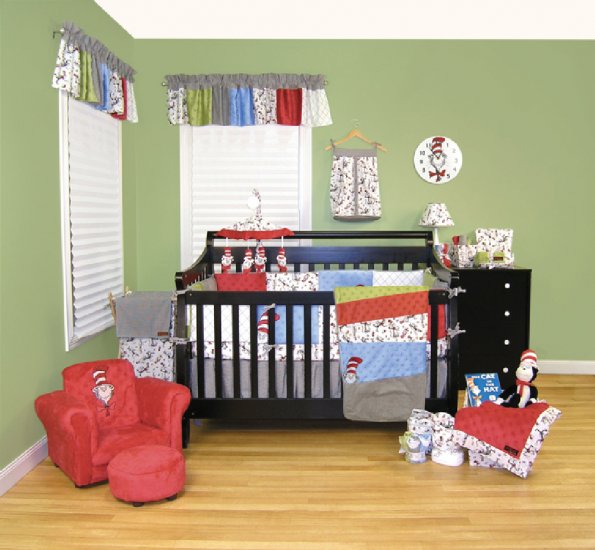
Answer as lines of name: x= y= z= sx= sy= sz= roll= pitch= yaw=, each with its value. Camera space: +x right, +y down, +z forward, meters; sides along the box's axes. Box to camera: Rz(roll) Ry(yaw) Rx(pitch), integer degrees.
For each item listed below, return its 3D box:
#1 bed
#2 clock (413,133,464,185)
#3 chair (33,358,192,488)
bed: x=0.087 y=0.270 z=3.863 sx=1.442 sy=0.999 sz=1.423 roll=0 pitch=12 yaw=-1
clock: x=0.983 y=-0.826 z=4.404 sx=0.306 sy=0.344 sz=0.015 roll=2 pitch=8 yaw=6
chair: x=-0.918 y=0.687 z=3.075 sx=0.468 sy=0.520 sz=0.657 roll=3 pitch=4 yaw=42
